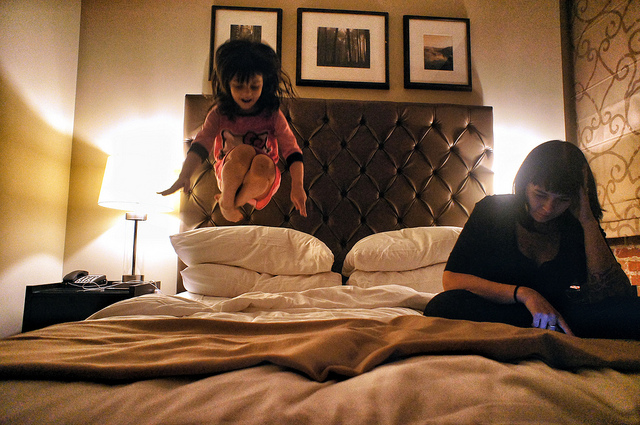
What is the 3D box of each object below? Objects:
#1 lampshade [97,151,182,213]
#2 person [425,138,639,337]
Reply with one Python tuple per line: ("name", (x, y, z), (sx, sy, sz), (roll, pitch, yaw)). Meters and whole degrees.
("lampshade", (-1.184, -0.146, 3.373), (0.540, 0.458, 0.563), (2, 4, -27))
("person", (0.762, 0.097, 2.510), (1.160, 1.028, 0.803), (1, -19, 11))
